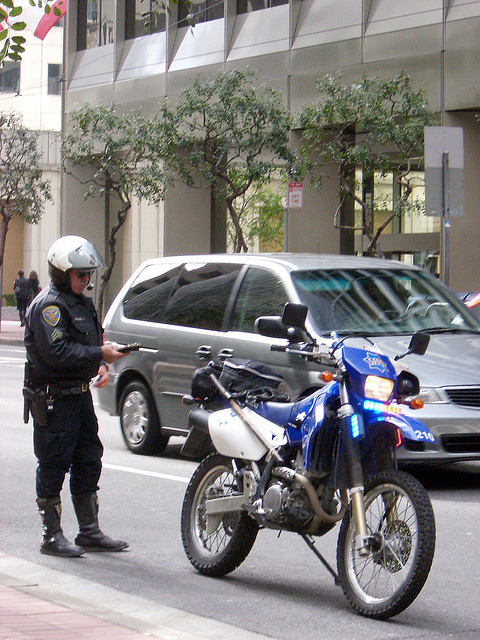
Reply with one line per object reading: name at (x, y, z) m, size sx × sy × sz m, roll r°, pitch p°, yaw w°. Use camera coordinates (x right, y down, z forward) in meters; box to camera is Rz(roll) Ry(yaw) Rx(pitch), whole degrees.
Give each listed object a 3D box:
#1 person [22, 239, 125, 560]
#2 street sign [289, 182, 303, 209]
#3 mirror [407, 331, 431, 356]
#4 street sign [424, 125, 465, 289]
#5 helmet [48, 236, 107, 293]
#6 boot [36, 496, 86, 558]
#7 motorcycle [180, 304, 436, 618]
person at (-0.951, 0.444, 3.829) m, size 0.481 × 1.819 × 0.373 m, roll 0°, pitch 3°, yaw -19°
street sign at (1.428, -3.239, 17.442) m, size 0.300 × 0.600 × 0.452 m, roll 1°, pitch 3°, yaw 4°
mirror at (0.802, 0.096, 2.997) m, size 0.085 × 0.125 × 0.044 m, roll 11°, pitch 21°, yaw -4°
street sign at (3.548, -1.791, 11.714) m, size 0.667 × 2.941 × 0.187 m, roll -1°, pitch 1°, yaw 8°
helmet at (-0.947, -0.343, 3.896) m, size 0.328 × 0.348 × 0.275 m, roll 13°, pitch 22°, yaw 0°
boot at (-1.017, 1.169, 3.889) m, size 0.266 × 0.362 × 0.207 m, roll 0°, pitch 3°, yaw -10°
motorcycle at (0.268, 0.601, 3.157) m, size 0.617 × 1.207 × 1.685 m, roll 16°, pitch -11°, yaw -32°
